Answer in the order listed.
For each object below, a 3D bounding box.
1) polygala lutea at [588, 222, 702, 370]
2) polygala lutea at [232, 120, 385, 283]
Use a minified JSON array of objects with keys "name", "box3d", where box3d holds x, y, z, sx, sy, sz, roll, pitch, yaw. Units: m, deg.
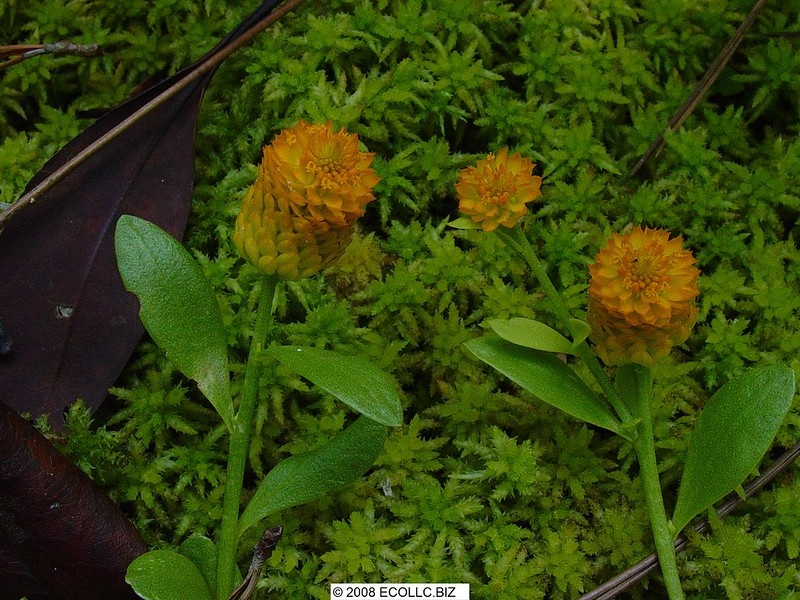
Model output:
[{"name":"polygala lutea","box3d":[0.653,-0.027,1.927,0.255,0.430,0.323,6,21,10]},{"name":"polygala lutea","box3d":[-0.258,-0.284,1.897,0.292,0.463,0.301,40,12,-14]}]
